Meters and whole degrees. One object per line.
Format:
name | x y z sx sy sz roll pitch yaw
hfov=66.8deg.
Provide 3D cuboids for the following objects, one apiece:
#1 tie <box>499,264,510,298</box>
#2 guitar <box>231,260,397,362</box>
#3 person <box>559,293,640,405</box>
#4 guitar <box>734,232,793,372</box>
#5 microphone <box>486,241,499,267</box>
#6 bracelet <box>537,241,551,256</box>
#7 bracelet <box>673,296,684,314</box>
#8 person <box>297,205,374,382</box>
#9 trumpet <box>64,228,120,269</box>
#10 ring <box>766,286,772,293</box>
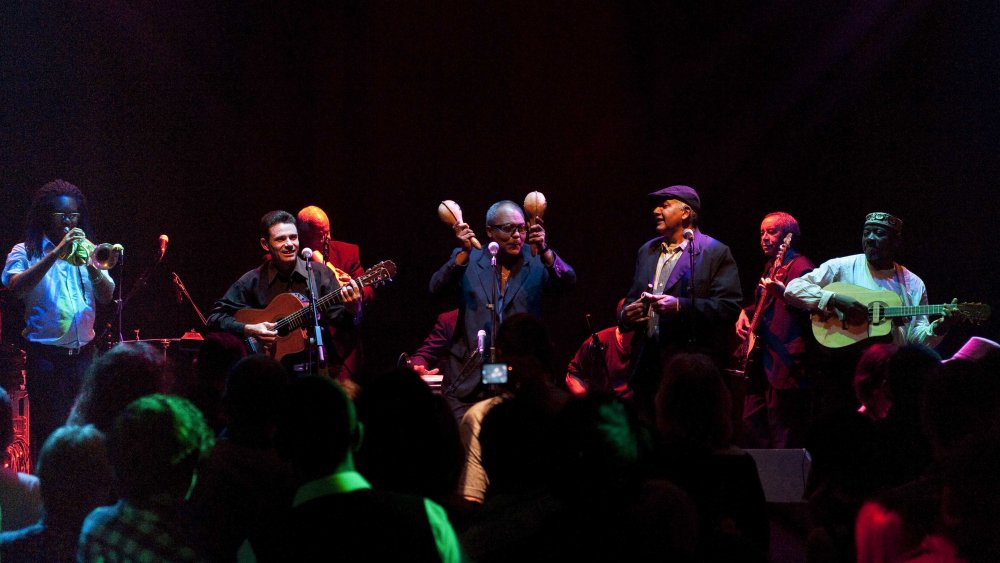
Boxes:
tie | 0.048 -0.013 7.356 0.123 0.231 0.050 5 -13 -13
guitar | -1.959 0.322 7.324 1.804 0.734 0.241 -21 -3 8
person | 0.980 0.786 8.430 0.554 0.869 1.046 28 16 29
guitar | 2.706 0.208 8.334 0.185 1.454 0.587 15 27 8
microphone | -0.067 -0.295 7.089 0.089 0.084 0.269 18 29 -14
bracelet | 0.395 -0.315 7.232 0.131 0.123 0.130 3 0 17
bracelet | 1.706 0.237 7.227 0.102 0.120 0.130 4 8 21
person | -1.753 -0.001 8.272 0.952 2.128 0.306 -7 -13 -25
trumpet | -4.317 -0.326 7.920 0.616 0.270 0.322 16 11 25
ring | 2.836 0.072 8.036 0.072 0.063 0.018 -1 4 41
